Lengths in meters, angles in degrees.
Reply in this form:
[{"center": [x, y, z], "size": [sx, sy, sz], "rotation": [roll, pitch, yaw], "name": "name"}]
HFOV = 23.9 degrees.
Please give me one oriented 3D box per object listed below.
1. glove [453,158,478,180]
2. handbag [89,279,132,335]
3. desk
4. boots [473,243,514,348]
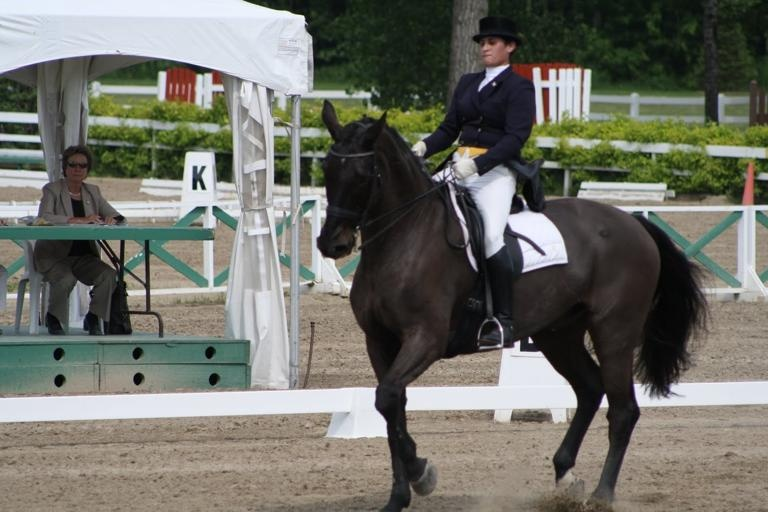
[{"center": [1.272, -1.352, 28.040], "size": [0.257, 0.330, 0.358], "rotation": [-1, 16, 13], "name": "glove"}, {"center": [-4.504, 0.743, 30.592], "size": [0.475, 1.012, 0.784], "rotation": [16, -22, -21], "name": "handbag"}, {"center": [-4.516, 0.368, 30.116], "size": [3.332, 1.906, 1.787], "rotation": [-2, 7, -6], "name": "desk"}, {"center": [1.749, 0.643, 27.896], "size": [0.581, 1.565, 0.312], "rotation": [-1, 7, -3], "name": "boots"}]
